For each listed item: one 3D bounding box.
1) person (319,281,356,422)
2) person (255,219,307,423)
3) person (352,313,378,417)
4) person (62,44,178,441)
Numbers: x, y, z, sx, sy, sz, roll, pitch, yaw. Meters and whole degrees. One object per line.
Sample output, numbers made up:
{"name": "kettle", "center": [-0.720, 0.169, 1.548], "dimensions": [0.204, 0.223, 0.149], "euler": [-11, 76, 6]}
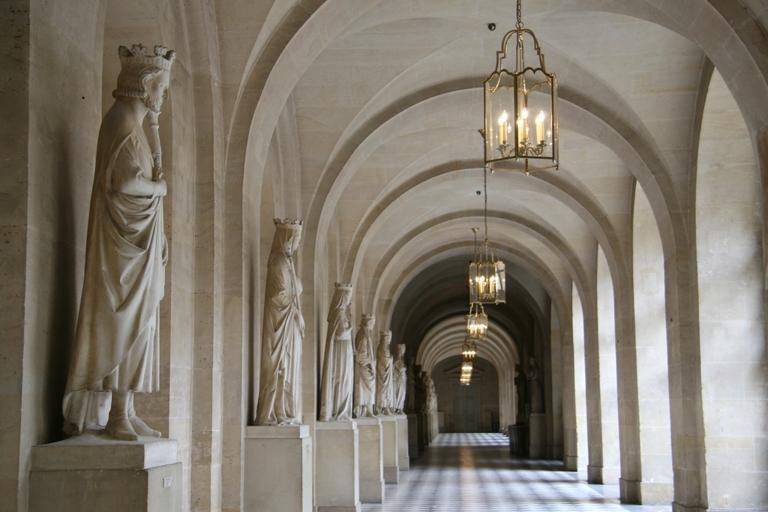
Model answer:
{"name": "person", "center": [-0.739, 1.669, 18.350], "dimensions": [0.623, 2.350, 0.687], "euler": [5, -16, -21]}
{"name": "person", "center": [-1.404, 0.928, 14.996], "dimensions": [0.638, 2.886, 0.673], "euler": [4, -16, -18]}
{"name": "person", "center": [-0.391, 2.236, 21.300], "dimensions": [0.419, 2.020, 0.843], "euler": [0, -15, -2]}
{"name": "person", "center": [-2.585, -0.164, 10.770], "dimensions": [0.866, 3.906, 0.955], "euler": [6, -17, -24]}
